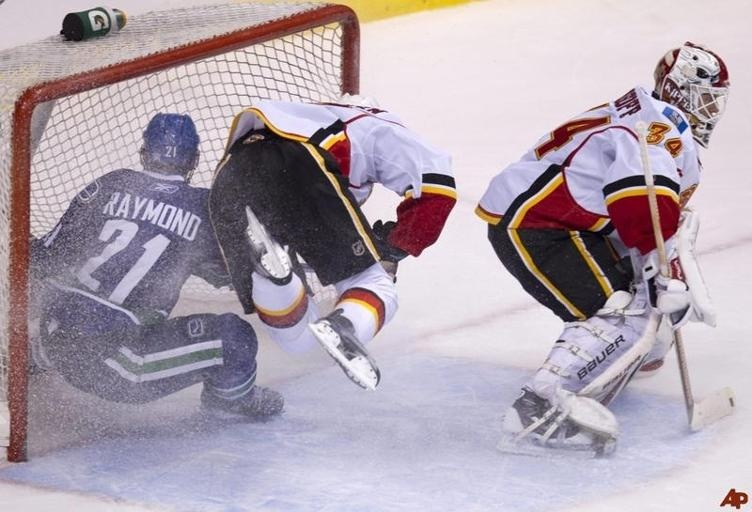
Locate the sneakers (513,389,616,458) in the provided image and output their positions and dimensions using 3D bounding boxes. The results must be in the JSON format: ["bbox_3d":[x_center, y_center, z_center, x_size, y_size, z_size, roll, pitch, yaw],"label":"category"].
[{"bbox_3d":[0.700,0.600,3.097,0.356,0.204,0.154,15,15,11],"label":"sneakers"}]

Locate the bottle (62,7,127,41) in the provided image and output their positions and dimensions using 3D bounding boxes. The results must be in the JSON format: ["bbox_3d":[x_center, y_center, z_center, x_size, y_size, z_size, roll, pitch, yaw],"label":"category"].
[{"bbox_3d":[-1.209,-0.997,3.561,0.301,0.099,0.132,-13,7,-40],"label":"bottle"}]
